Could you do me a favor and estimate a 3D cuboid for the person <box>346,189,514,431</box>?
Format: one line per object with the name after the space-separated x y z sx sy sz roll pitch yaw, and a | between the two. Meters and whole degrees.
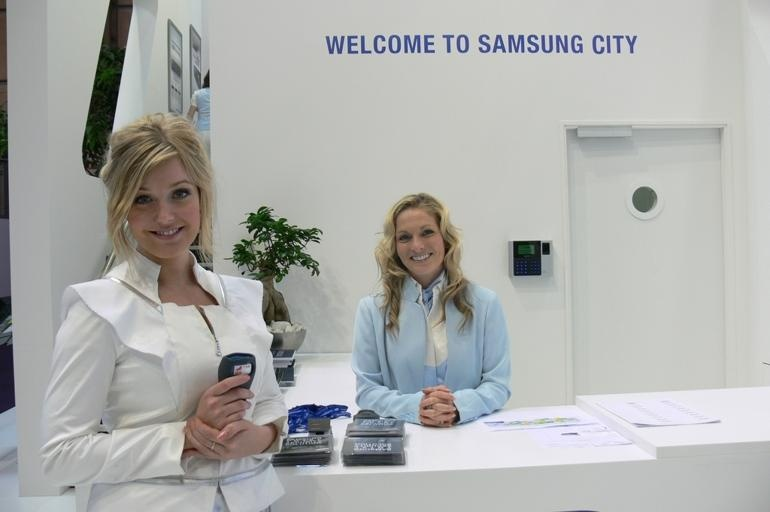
0.227 0.303 3.458 1.067 1.670 1.016 -1 -5 -1 | person

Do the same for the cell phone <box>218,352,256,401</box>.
-0.581 0.472 2.252 0.158 0.217 0.070 6 -1 -29 | cell phone

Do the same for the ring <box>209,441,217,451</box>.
-0.658 0.729 2.214 0.029 0.031 0.007 -3 0 -41 | ring

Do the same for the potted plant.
-0.994 0.167 4.367 0.599 1.148 0.772 0 1 32 | potted plant

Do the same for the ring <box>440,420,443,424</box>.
0.277 0.828 2.886 0.020 0.007 0.029 3 6 -5 | ring
